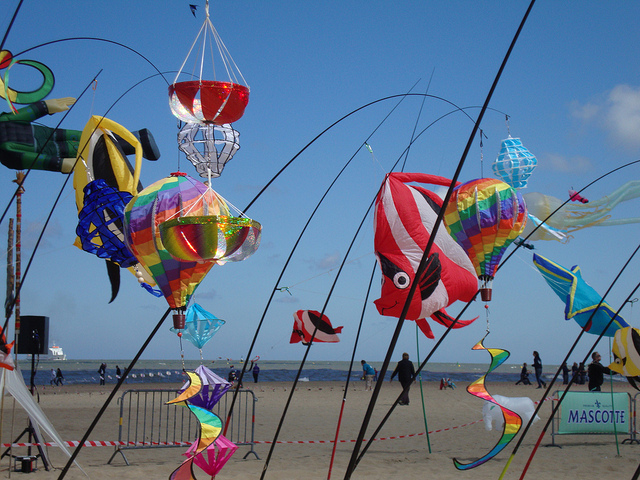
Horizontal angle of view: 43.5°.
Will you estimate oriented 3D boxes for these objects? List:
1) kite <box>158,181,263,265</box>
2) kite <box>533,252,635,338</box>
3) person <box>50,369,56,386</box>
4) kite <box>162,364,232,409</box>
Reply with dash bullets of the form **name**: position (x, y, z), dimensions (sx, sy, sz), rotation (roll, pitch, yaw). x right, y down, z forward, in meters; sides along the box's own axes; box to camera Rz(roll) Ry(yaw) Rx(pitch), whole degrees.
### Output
- **kite**: position (-1.884, -0.366, 13.896), dimensions (1.715, 1.748, 1.865), rotation (-5, -13, 6)
- **kite**: position (6.197, 1.398, 18.940), dimensions (2.302, 0.839, 1.501), rotation (47, -33, 23)
- **person**: position (-14.907, 7.716, 44.806), dimensions (0.251, 0.857, 1.650), rotation (10, -4, -17)
- **kite**: position (-2.338, 2.786, 15.016), dimensions (0.902, 0.743, 0.903), rotation (1, 0, 16)
